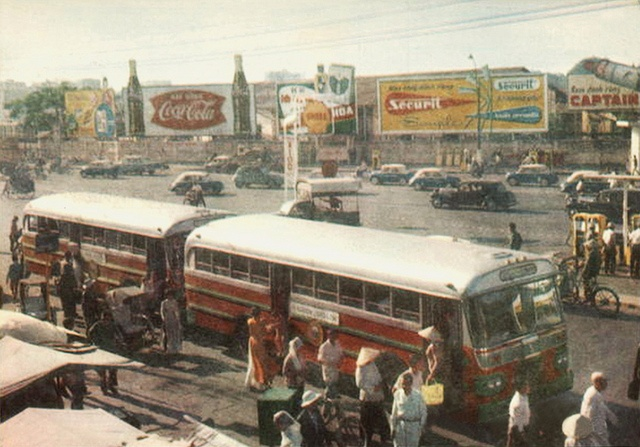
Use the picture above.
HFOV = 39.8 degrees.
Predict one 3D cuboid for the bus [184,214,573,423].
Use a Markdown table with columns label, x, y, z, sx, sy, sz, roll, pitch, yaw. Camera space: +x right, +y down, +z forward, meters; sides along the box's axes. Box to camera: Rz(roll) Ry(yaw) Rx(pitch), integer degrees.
| label | x | y | z | sx | sy | sz | roll | pitch | yaw |
| --- | --- | --- | --- | --- | --- | --- | --- | --- | --- |
| bus | 3.260 | 4.180 | 26.550 | 11.915 | 4.183 | 5.111 | 11 | 21 | 36 |

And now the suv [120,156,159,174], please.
| label | x | y | z | sx | sy | sz | roll | pitch | yaw |
| --- | --- | --- | --- | --- | --- | --- | --- | --- | --- |
| suv | -12.815 | -4.210 | 63.101 | 2.275 | 1.348 | 1.507 | 1 | 3 | 2 |

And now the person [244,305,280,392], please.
| label | x | y | z | sx | sy | sz | roll | pitch | yaw |
| --- | --- | --- | --- | --- | --- | --- | --- | --- | --- |
| person | -1.689 | 3.556 | 25.563 | 1.003 | 2.360 | 0.886 | -1 | -1 | 30 |

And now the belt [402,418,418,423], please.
| label | x | y | z | sx | sy | sz | roll | pitch | yaw |
| --- | --- | --- | --- | --- | --- | --- | --- | --- | --- |
| belt | 2.319 | 5.012 | 22.515 | 0.350 | 0.098 | 0.032 | -2 | 9 | 6 |

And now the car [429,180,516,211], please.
| label | x | y | z | sx | sy | sz | roll | pitch | yaw |
| --- | --- | --- | --- | --- | --- | --- | --- | --- | --- |
| car | 7.779 | -1.413 | 45.452 | 4.601 | 1.571 | 1.917 | 2 | -5 | 15 |

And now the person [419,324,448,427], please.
| label | x | y | z | sx | sy | sz | roll | pitch | yaw |
| --- | --- | --- | --- | --- | --- | --- | --- | --- | --- |
| person | 3.038 | 3.935 | 23.621 | 0.754 | 2.245 | 0.663 | 3 | 13 | 21 |

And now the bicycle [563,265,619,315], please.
| label | x | y | z | sx | sy | sz | roll | pitch | yaw |
| --- | --- | --- | --- | --- | --- | --- | --- | --- | --- |
| bicycle | 9.200 | 2.233 | 29.425 | 1.009 | 1.193 | 2.273 | -7 | 14 | -36 |

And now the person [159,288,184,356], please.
| label | x | y | z | sx | sy | sz | roll | pitch | yaw |
| --- | --- | --- | --- | --- | --- | --- | --- | --- | --- |
| person | -4.522 | 2.992 | 27.120 | 0.761 | 1.855 | 0.645 | 3 | 9 | 0 |
